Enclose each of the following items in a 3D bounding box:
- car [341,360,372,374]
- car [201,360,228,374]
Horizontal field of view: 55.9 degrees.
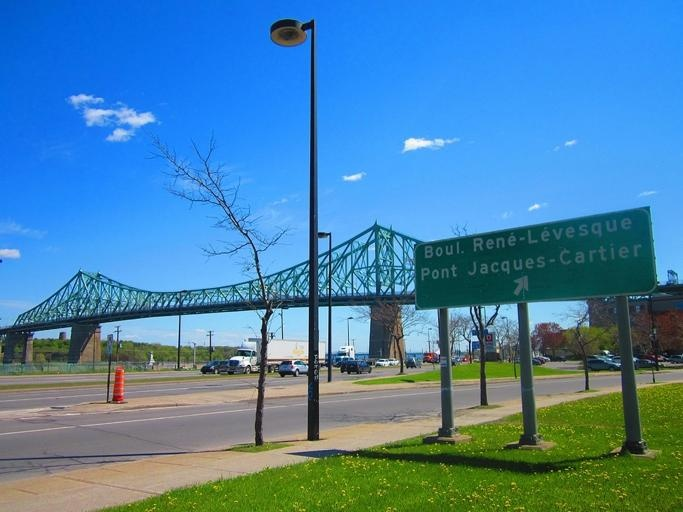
[{"bbox_3d":[1.611,10.911,63.331,1.585,1.134,2.976,-3,-5,31],"label":"car"},{"bbox_3d":[-12.812,11.456,65.868,2.313,1.430,8.358,2,-12,-10],"label":"car"}]
